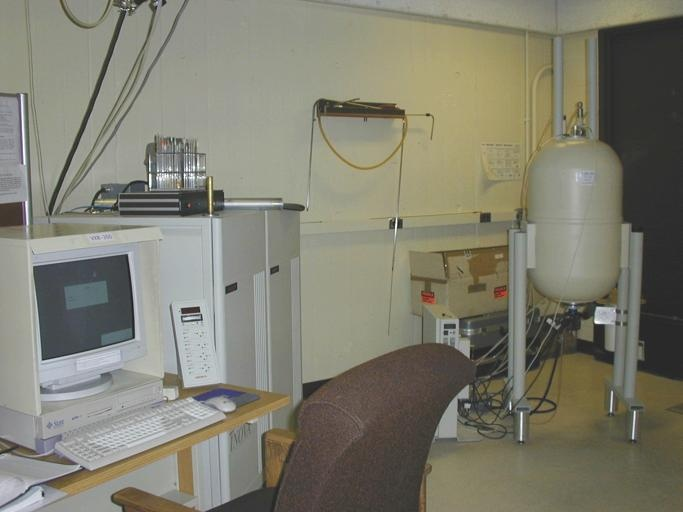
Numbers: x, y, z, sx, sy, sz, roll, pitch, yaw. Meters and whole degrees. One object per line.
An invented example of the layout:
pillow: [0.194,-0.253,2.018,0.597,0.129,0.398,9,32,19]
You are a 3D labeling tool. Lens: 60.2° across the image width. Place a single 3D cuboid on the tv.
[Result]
tv: [-0.895,0.214,2.276,0.370,0.674,0.486,-2,1,39]
